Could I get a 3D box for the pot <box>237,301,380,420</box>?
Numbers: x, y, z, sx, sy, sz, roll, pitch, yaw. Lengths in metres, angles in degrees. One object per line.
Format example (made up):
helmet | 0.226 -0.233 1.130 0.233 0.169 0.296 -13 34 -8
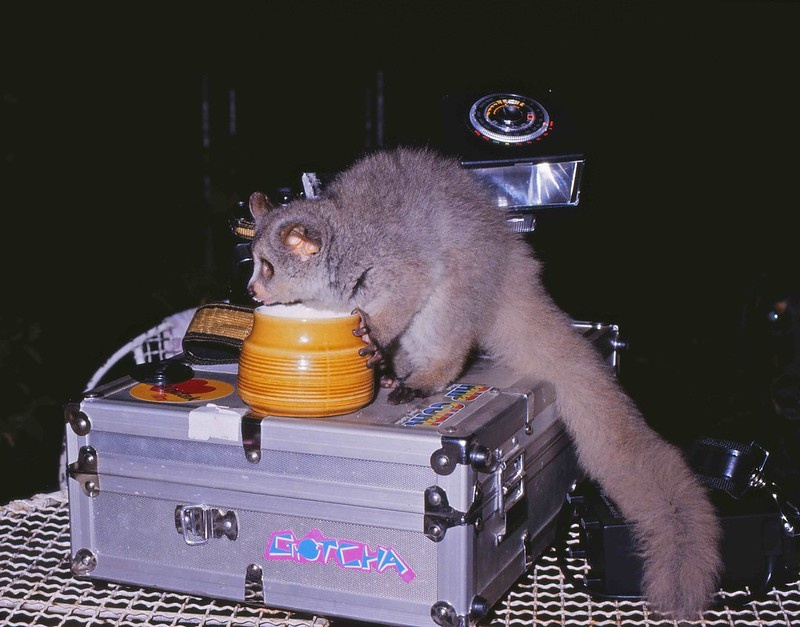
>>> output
pot | -0.271 0.115 2.412 0.285 0.229 0.308 1 1 0
